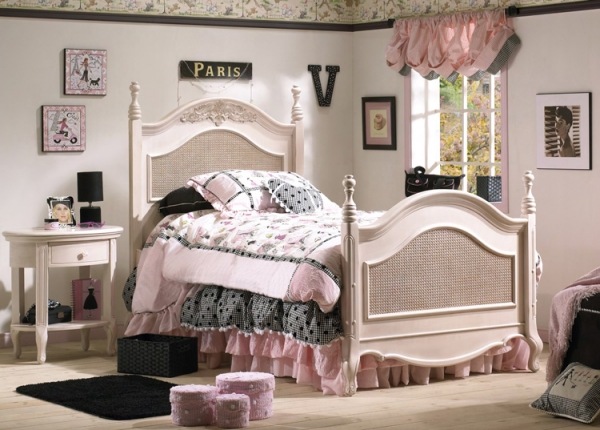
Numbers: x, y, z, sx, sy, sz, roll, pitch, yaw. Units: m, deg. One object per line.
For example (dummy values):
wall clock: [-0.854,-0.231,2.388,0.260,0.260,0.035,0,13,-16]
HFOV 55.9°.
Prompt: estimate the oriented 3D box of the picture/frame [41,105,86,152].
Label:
picture/frame: [-2.045,-0.741,4.839,0.433,0.466,0.054,0,3,-29]

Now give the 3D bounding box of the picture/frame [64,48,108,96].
picture/frame: [-1.881,-1.242,4.913,0.444,0.499,0.051,-2,6,-32]

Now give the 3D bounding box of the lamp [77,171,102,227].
lamp: [-1.759,-0.141,4.739,0.205,0.446,0.368,0,1,-21]

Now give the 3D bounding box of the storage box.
storage box: [-0.919,0.871,3.888,0.426,0.201,0.298,2,2,34]

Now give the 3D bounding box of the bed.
bed: [0.011,-0.032,4.735,2.096,2.111,2.974,-3,6,-38]
